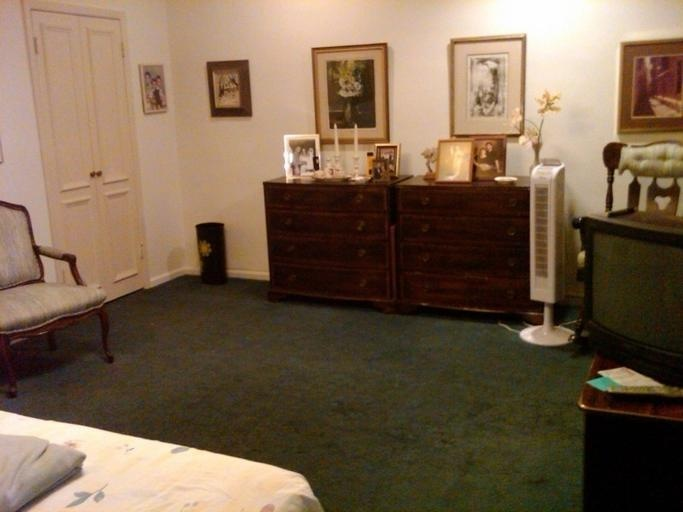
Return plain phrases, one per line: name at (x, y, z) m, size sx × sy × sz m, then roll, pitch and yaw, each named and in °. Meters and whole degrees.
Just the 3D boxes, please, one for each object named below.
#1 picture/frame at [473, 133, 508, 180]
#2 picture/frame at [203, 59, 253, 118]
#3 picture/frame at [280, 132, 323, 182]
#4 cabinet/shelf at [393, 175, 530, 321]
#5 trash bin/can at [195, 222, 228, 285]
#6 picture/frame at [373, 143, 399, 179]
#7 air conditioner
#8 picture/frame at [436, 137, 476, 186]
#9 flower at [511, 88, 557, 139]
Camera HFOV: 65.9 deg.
picture/frame at (1.246, -0.827, 4.425) m, size 0.382 × 0.458 × 0.035 m, roll 3°, pitch 6°, yaw 22°
picture/frame at (-1.143, -1.722, 5.363) m, size 0.582 × 0.684 × 0.053 m, roll 3°, pitch 17°, yaw 16°
picture/frame at (-0.372, -0.949, 5.053) m, size 0.550 × 0.623 × 0.041 m, roll -1°, pitch 6°, yaw 2°
cabinet/shelf at (1.020, -0.090, 4.339) m, size 1.115 × 1.055 × 0.554 m, roll 3°, pitch 9°, yaw 22°
trash bin/can at (-1.377, -0.030, 5.613) m, size 0.294 × 0.605 × 0.317 m, roll -6°, pitch 17°, yaw -12°
picture/frame at (0.399, -0.836, 4.696) m, size 0.327 × 0.420 × 0.061 m, roll 3°, pitch -4°, yaw 3°
air conditioner at (1.563, -0.019, 3.917) m, size 0.377 × 1.316 × 0.420 m, roll 5°, pitch 18°, yaw 25°
picture/frame at (0.967, -0.784, 4.421) m, size 0.410 × 0.470 × 0.038 m, roll 2°, pitch -3°, yaw 19°
flower at (1.625, -1.209, 4.412) m, size 0.251 × 0.367 × 0.318 m, roll -8°, pitch 29°, yaw -45°
